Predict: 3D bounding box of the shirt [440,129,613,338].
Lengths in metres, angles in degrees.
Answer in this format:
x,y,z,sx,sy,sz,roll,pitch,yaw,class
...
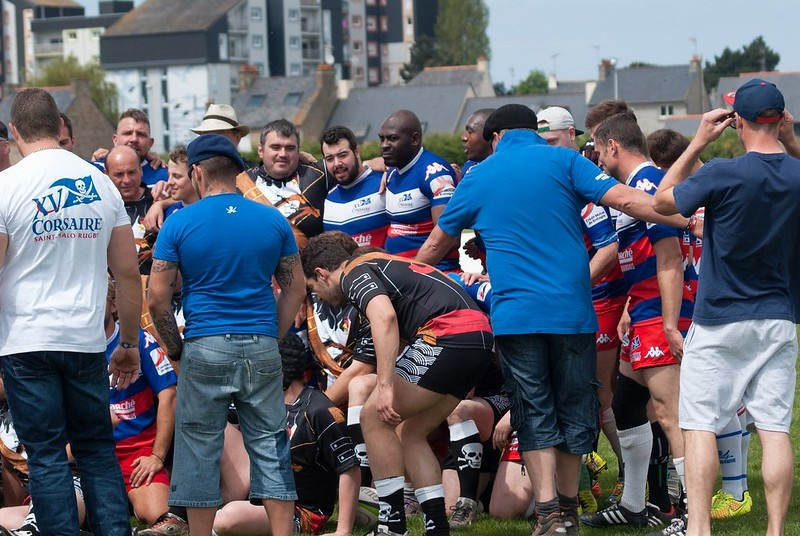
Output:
x,y,z,sx,sy,sz,roll,pitch,yaw,class
0.946,-0.291,10.609,1.590,1.942,1.383,-6,0,-1,shirt

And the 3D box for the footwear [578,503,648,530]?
x,y,z,sx,sy,sz,roll,pitch,yaw,class
1.872,2.191,10.844,0.611,0.255,0.225,3,-6,9,footwear

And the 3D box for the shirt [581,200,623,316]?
x,y,z,sx,sy,sz,roll,pitch,yaw,class
1.800,-0.118,10.944,0.339,0.892,0.627,-14,26,11,shirt

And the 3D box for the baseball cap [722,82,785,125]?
x,y,z,sx,sy,sz,roll,pitch,yaw,class
2.850,-1.339,9.743,0.380,0.358,0.192,0,4,21,baseball cap

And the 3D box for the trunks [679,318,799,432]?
x,y,z,sx,sy,sz,roll,pitch,yaw,class
2.687,0.845,9.758,0.886,0.926,0.513,2,3,4,trunks

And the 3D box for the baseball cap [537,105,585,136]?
x,y,z,sx,sy,sz,roll,pitch,yaw,class
1.458,-1.461,11.876,0.489,0.280,0.307,-3,5,-42,baseball cap

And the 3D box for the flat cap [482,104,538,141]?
x,y,z,sx,sy,sz,roll,pitch,yaw,class
0.918,-1.247,10.352,0.363,0.294,0.272,11,11,41,flat cap

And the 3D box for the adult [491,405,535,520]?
x,y,z,sx,sy,sz,roll,pitch,yaw,class
0.953,1.824,11.163,0.292,0.948,0.493,-10,-14,36,adult

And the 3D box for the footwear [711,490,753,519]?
x,y,z,sx,sy,sz,roll,pitch,yaw,class
2.932,2.138,10.942,0.473,0.226,0.227,-4,-27,-2,footwear
